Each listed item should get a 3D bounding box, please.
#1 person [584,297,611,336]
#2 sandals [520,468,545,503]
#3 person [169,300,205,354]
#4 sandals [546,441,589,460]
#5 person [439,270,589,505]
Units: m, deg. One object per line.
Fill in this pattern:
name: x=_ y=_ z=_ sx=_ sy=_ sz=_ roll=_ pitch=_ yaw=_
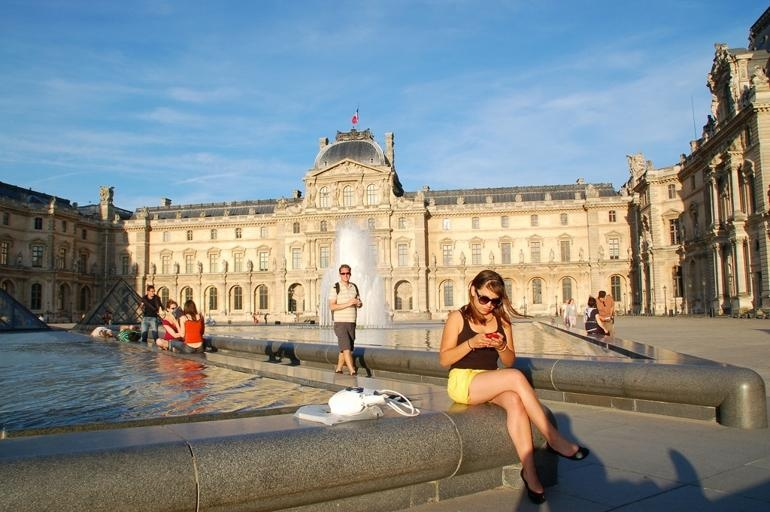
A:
person: x=5.559 y=1.609 z=16.979 sx=0.848 sy=0.884 sz=0.799 roll=1 pitch=-5 yaw=7
sandals: x=1.348 y=2.104 z=5.994 sx=0.104 sy=0.197 sz=0.234 roll=0 pitch=0 yaw=-32
person: x=-4.060 y=1.466 z=13.508 sx=0.689 sy=1.008 sz=1.466 roll=0 pitch=0 yaw=-17
sandals: x=1.730 y=1.879 z=6.198 sx=0.360 sy=0.077 sz=0.180 roll=2 pitch=4 yaw=27
person: x=1.186 y=1.191 z=6.512 sx=0.670 sy=1.563 sz=1.299 roll=0 pitch=0 yaw=-39
